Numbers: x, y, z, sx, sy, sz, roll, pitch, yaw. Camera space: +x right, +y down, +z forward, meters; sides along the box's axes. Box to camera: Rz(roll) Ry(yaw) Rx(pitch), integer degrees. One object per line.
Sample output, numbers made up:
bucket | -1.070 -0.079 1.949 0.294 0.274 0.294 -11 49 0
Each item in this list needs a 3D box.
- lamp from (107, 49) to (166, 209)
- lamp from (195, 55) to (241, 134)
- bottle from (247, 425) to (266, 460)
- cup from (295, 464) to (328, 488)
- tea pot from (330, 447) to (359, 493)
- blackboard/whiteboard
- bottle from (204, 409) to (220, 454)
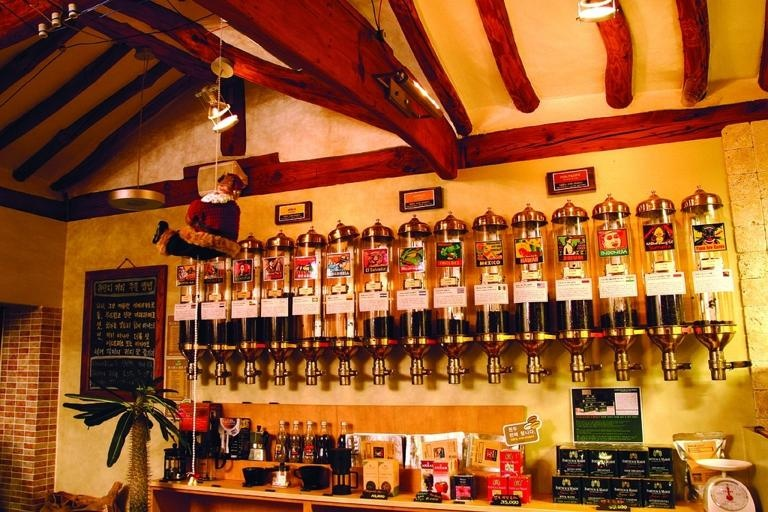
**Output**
lamp | -2.338 -1.107 6.179 0.450 1.429 1.142 6 -18 -21
lamp | -1.427 -1.342 5.417 0.301 0.574 0.318 9 18 39
bottle | -1.112 1.652 5.564 0.166 0.251 0.092 -3 -17 6
cup | -0.594 1.798 5.294 0.277 0.146 0.215 -5 -14 22
tea pot | -0.321 1.731 5.174 0.193 0.348 0.296 -3 -16 8
blackboard/whiteboard | -2.516 0.792 6.242 1.433 1.507 0.086 -3 -8 23
bottle | -1.517 1.545 5.693 0.133 0.445 0.070 6 -18 -21
